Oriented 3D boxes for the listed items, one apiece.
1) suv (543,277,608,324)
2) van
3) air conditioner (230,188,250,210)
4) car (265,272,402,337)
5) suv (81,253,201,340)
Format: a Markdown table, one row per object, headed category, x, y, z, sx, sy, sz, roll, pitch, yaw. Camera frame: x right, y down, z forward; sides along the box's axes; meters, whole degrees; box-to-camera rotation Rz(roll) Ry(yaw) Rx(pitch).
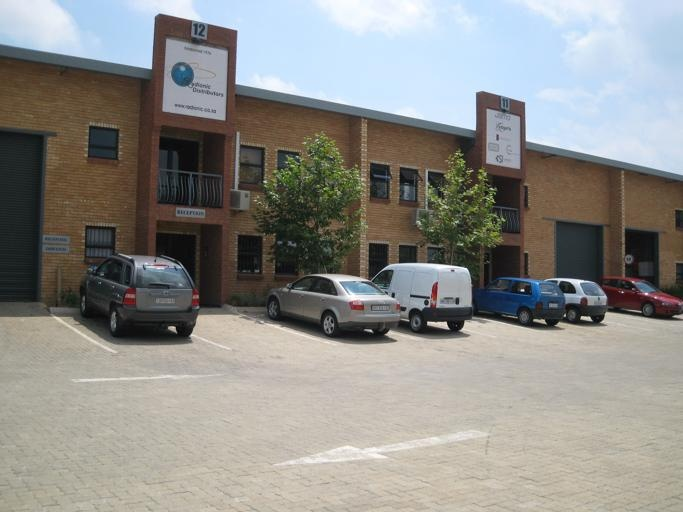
| category | x | y | z | sx | sy | sz | roll | pitch | yaw |
| --- | --- | --- | --- | --- | --- | --- | --- | --- | --- |
| suv | 9.240 | 1.707 | 25.046 | 1.481 | 1.331 | 2.690 | 0 | 3 | -27 |
| van | 2.644 | 1.191 | 20.134 | 1.865 | 1.424 | 2.905 | 3 | 2 | -29 |
| air conditioner | -3.783 | -2.105 | 23.128 | 0.706 | 0.686 | 0.518 | 3 | 3 | -11 |
| car | -0.497 | 1.366 | 19.027 | 1.730 | 1.690 | 4.597 | 0 | 3 | -44 |
| suv | -5.329 | 0.930 | 16.317 | 1.680 | 1.384 | 3.549 | 5 | 3 | -31 |
